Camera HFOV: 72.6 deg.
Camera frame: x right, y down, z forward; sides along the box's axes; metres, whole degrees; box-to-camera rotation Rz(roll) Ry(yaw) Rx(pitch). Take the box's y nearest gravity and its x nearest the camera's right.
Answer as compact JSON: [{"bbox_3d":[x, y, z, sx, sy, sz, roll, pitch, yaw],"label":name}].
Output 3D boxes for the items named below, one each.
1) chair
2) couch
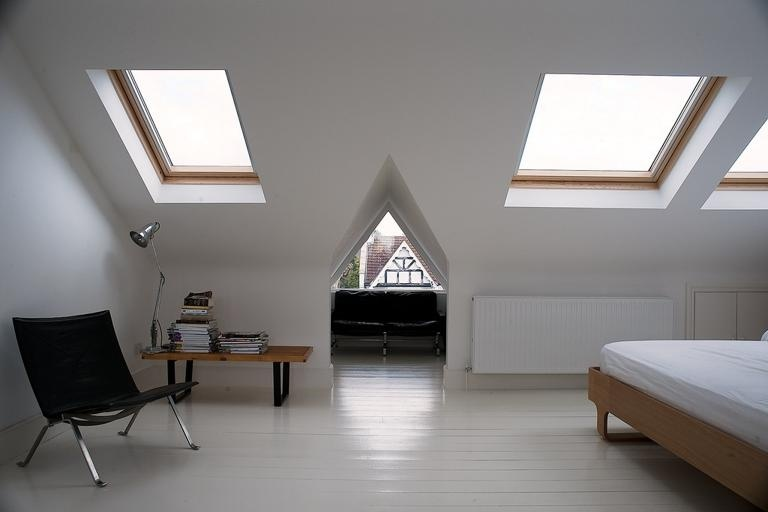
[{"bbox_3d":[-2.054,0.979,3.917,1.126,1.000,0.904,1,0,21],"label":"chair"},{"bbox_3d":[0.014,0.878,7.120,1.551,0.739,0.668,1,3,0],"label":"couch"}]
